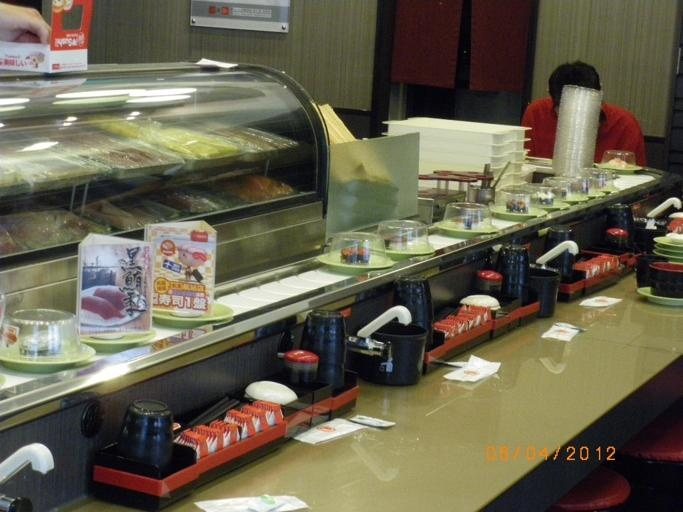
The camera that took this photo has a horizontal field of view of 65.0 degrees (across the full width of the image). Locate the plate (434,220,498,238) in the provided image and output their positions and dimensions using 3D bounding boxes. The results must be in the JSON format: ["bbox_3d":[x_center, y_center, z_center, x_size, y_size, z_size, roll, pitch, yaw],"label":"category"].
[{"bbox_3d":[0.553,-0.118,2.350,0.279,0.062,0.139,2,16,5],"label":"plate"}]

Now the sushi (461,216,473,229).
[{"bbox_3d":[0.542,-0.144,2.315,0.068,0.043,0.099,-2,13,11],"label":"sushi"}]

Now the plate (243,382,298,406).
[{"bbox_3d":[-0.160,0.321,1.266,0.084,0.014,0.066,10,9,12],"label":"plate"}]

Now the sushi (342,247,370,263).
[{"bbox_3d":[0.049,-0.003,1.822,0.083,0.033,0.078,5,7,34],"label":"sushi"}]

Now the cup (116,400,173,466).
[{"bbox_3d":[-0.369,0.332,1.009,0.121,0.082,0.096,6,-6,2],"label":"cup"}]

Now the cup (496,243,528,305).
[{"bbox_3d":[0.694,0.063,2.144,0.144,0.203,0.139,4,18,-1],"label":"cup"}]

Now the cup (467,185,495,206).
[{"bbox_3d":[0.718,-0.311,2.740,0.137,0.097,0.094,3,18,9],"label":"cup"}]

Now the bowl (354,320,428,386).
[{"bbox_3d":[0.174,0.288,1.607,0.244,0.161,0.177,-9,20,-29],"label":"bowl"}]

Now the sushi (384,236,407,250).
[{"bbox_3d":[0.204,-0.048,1.990,0.071,0.030,0.069,5,8,37],"label":"sushi"}]

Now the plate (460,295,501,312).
[{"bbox_3d":[0.526,0.178,2.016,0.099,0.022,0.079,-1,4,-41],"label":"plate"}]
